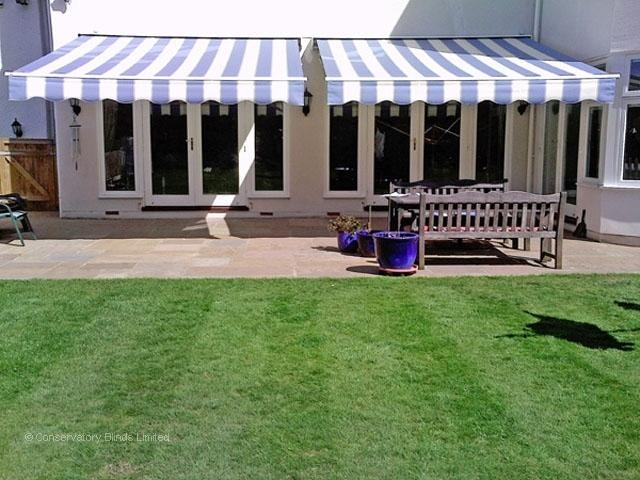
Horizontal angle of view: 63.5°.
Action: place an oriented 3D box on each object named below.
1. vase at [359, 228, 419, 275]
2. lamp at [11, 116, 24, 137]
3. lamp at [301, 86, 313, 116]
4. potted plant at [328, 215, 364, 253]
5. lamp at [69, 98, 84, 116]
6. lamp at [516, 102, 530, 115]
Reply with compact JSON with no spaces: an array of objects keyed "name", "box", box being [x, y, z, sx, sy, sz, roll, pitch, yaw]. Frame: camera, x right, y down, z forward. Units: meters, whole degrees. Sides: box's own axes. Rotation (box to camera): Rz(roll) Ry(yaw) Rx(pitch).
[{"name":"vase","box":[1.240,0.194,8.720,0.705,0.529,0.741,0,1,-1]},{"name":"lamp","box":[-9.545,-3.544,16.257,0.309,0.578,0.999,-7,14,-30]},{"name":"lamp","box":[-0.342,-3.802,14.257,0.283,0.779,0.456,0,12,-3]},{"name":"potted plant","box":[0.513,-0.135,10.359,0.713,0.780,0.667,0,2,-3]},{"name":"lamp","box":[-6.643,-3.602,14.043,0.316,0.428,0.158,-4,12,-18]},{"name":"lamp","box":[5.732,-3.704,14.602,0.347,0.362,0.181,5,13,19]}]
